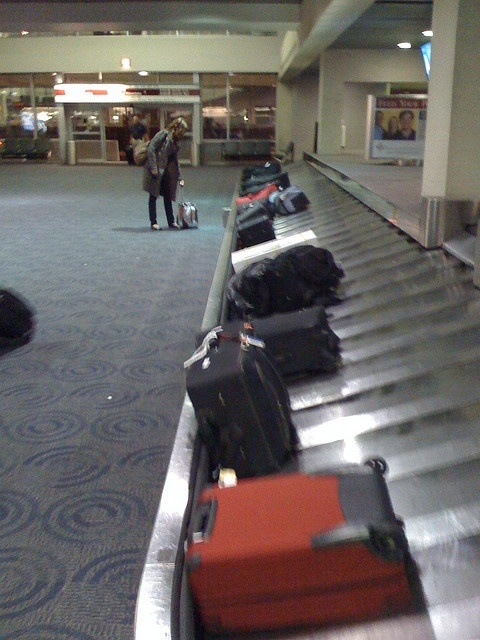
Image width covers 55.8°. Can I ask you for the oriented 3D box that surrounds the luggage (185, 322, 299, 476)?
[{"bbox_3d":[-0.010,0.302,1.439,0.264,0.535,0.356,-3,18,16],"label":"luggage"}]

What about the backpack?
[{"bbox_3d":[0.278,-0.243,2.705,0.409,0.315,0.736,14,24,41],"label":"backpack"}]

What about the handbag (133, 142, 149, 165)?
[{"bbox_3d":[-1.344,-2.284,6.205,0.202,0.298,0.666,-5,18,-10],"label":"handbag"}]

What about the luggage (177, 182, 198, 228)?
[{"bbox_3d":[-0.798,-1.709,6.693,0.190,0.693,0.251,-13,19,-42],"label":"luggage"}]

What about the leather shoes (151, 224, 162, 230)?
[{"bbox_3d":[-1.220,-1.354,6.563,0.100,0.069,0.181,-1,11,-6],"label":"leather shoes"}]

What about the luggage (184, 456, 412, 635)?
[{"bbox_3d":[0.094,0.330,0.711,0.363,0.247,0.230,-6,30,10],"label":"luggage"}]

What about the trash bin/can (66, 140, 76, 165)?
[{"bbox_3d":[-7.031,-6.984,18.832,0.349,0.975,0.530,-3,17,-7],"label":"trash bin/can"}]

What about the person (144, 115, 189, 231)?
[{"bbox_3d":[-1.049,-2.016,6.360,0.594,1.479,0.862,-5,17,-10],"label":"person"}]
